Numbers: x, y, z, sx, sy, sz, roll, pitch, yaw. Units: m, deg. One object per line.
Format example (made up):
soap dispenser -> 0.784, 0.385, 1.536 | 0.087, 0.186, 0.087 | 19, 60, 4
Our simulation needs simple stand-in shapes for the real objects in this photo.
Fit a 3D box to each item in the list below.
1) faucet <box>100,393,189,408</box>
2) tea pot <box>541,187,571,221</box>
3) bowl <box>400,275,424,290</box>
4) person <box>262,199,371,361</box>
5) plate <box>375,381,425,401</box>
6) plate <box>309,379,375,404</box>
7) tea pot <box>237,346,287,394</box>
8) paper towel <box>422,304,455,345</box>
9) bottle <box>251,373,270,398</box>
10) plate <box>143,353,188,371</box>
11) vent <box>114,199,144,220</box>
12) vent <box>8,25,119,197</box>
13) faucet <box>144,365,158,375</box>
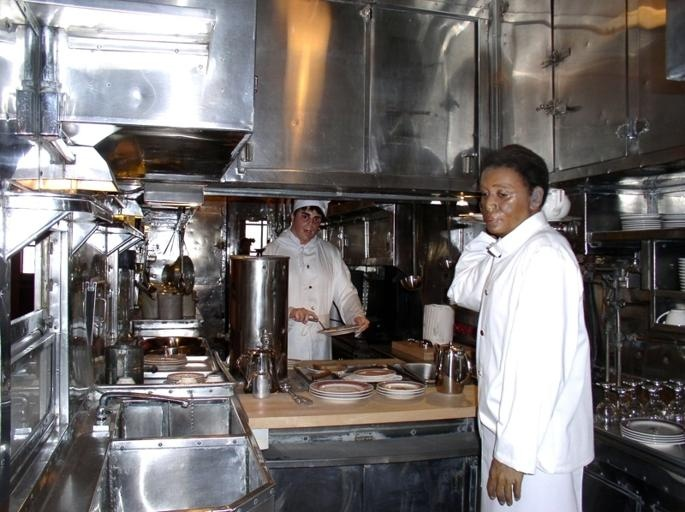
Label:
faucet -> -0.856, 0.618, 2.603 | 0.301, 0.084, 0.052 | 8, 30, -18
tea pot -> 1.073, -0.259, 3.015 | 0.075, 0.191, 0.217 | 9, 5, 33
bowl -> 0.581, 0.205, 4.933 | 0.137, 0.095, 0.125 | 0, 0, 0
person -> -0.199, 0.166, 4.099 | 0.674, 1.103, 0.944 | -2, 0, -2
plate -> 0.295, 0.661, 2.996 | 0.226, 0.080, 0.242 | -3, 0, 31
plate -> -0.007, 0.654, 2.954 | 0.313, 0.098, 0.281 | -2, 0, 1
tea pot -> -0.399, 0.553, 2.962 | 0.290, 0.287, 0.200 | 1, -4, -14
paper towel -> 0.642, 0.428, 3.979 | 0.210, 0.255, 0.221 | 8, 12, 27
bottle -> -0.379, 0.606, 2.847 | 0.099, 0.107, 0.076 | 1, -2, -18
plate -> -0.993, 0.594, 3.419 | 0.231, 0.082, 0.361 | -2, 0, -18
vent -> -1.303, -0.302, 3.716 | 0.116, 0.124, 0.973 | -2, 0, -16
vent -> -0.936, -0.432, 1.935 | 0.201, 0.346, 0.536 | -2, 1, -6
faucet -> -1.024, 0.606, 3.239 | 0.062, 0.028, 0.091 | 3, 1, -10
